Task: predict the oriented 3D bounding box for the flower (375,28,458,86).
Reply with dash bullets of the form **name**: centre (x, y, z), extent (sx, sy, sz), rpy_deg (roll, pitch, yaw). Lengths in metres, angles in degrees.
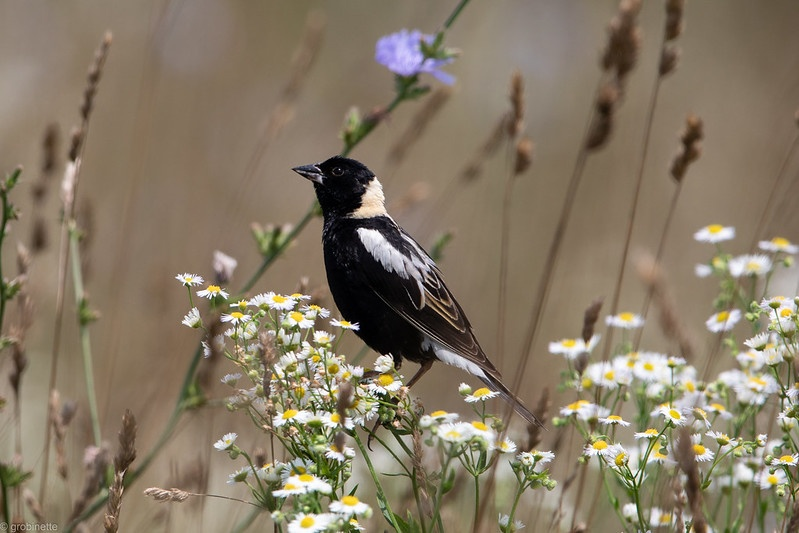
- **flower**: centre (0.099, -1.462, 6.786), extent (0.407, 0.450, 0.209), rpy_deg (-2, -28, -1)
